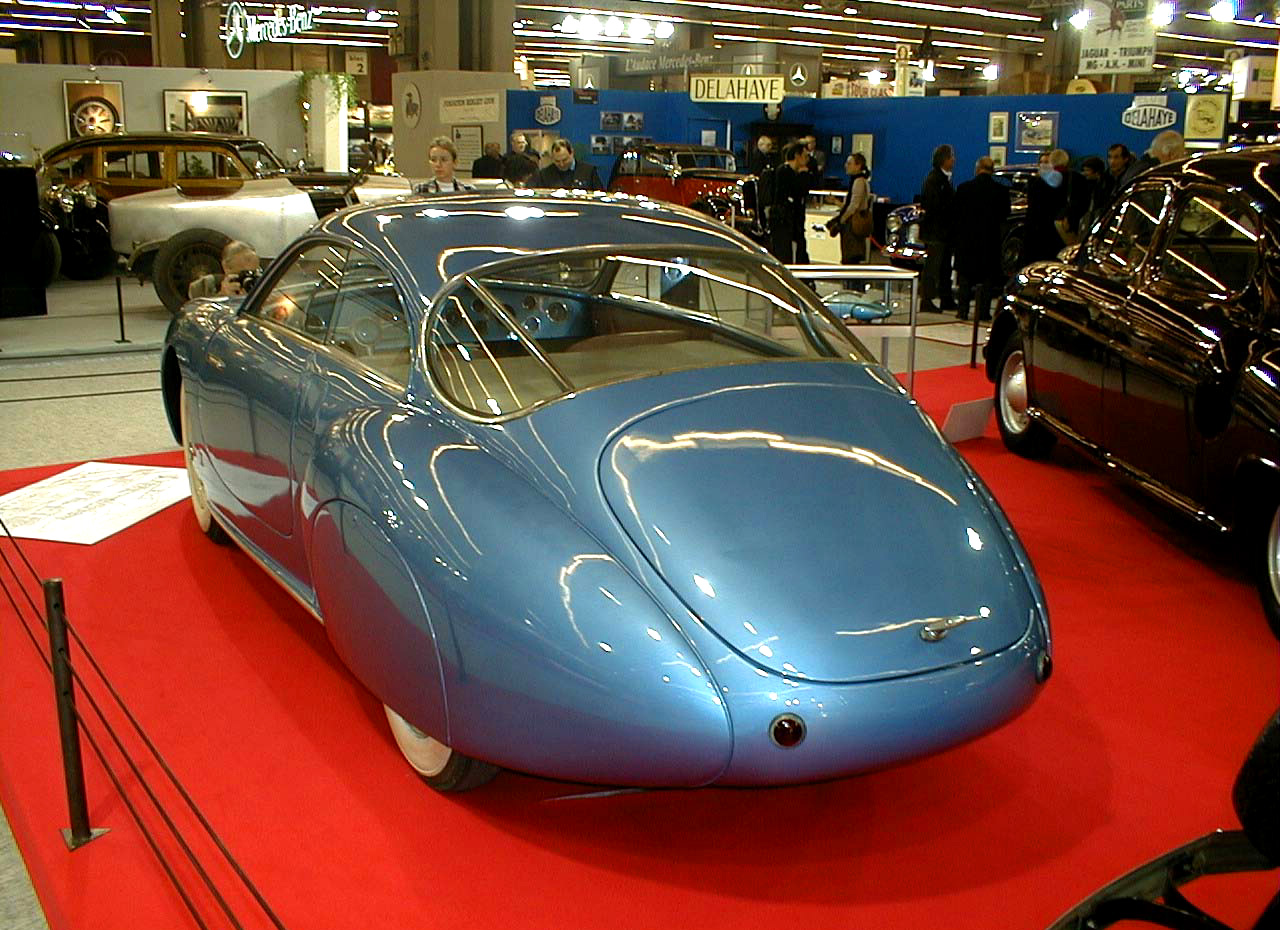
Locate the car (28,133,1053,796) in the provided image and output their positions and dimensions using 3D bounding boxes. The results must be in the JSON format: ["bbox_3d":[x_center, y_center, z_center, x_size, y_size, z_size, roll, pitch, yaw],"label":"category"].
[{"bbox_3d":[-0.350,-0.078,3.023,1.638,1.282,2.757,-10,30,-31],"label":"car"}]

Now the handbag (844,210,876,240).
[{"bbox_3d":[2.940,-3.160,12.173,0.258,0.582,0.403,7,12,29],"label":"handbag"}]
